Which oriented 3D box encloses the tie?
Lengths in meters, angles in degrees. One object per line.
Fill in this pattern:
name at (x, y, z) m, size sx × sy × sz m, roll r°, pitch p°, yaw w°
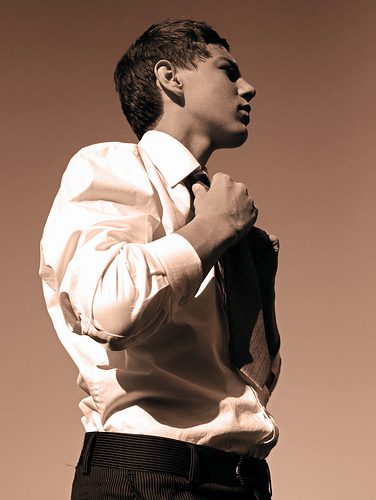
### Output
tie at (0.098, 0.104, 2.171) m, size 0.099 × 0.378 × 0.086 m, roll -18°, pitch 3°, yaw -39°
